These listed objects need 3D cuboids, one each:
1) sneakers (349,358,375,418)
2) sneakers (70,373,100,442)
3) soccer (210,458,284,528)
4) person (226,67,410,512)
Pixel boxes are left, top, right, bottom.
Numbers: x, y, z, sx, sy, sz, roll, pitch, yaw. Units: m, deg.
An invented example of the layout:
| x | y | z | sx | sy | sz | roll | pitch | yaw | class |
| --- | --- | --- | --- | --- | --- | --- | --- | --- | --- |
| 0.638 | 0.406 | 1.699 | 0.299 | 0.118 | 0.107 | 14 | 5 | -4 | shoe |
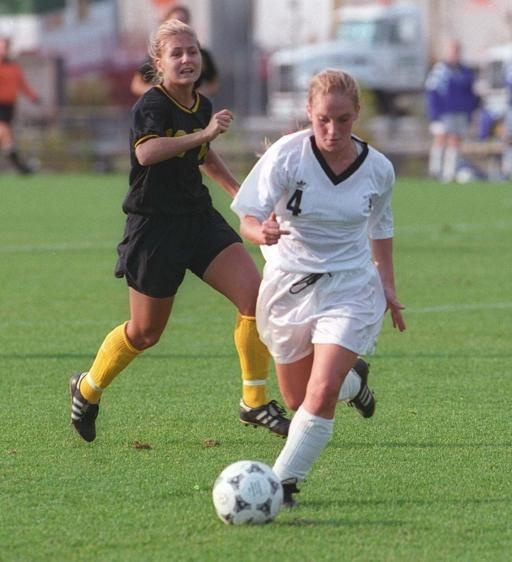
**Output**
| x | y | z | sx | sy | sz | roll | pitch | yaw | class |
| --- | --- | --- | --- | --- | --- | --- | --- | --- | --- |
| 0.471 | 0.465 | 4.152 | 0.100 | 0.284 | 0.146 | -9 | 45 | 16 | sneakers |
| -0.746 | 0.546 | 4.178 | 0.122 | 0.291 | 0.105 | -26 | -21 | 34 | sneakers |
| -0.039 | 0.738 | 3.295 | 0.214 | 0.196 | 0.194 | -21 | -13 | -9 | soccer |
| 0.208 | -0.015 | 3.601 | 0.544 | 1.502 | 0.854 | 3 | 10 | 20 | person |
